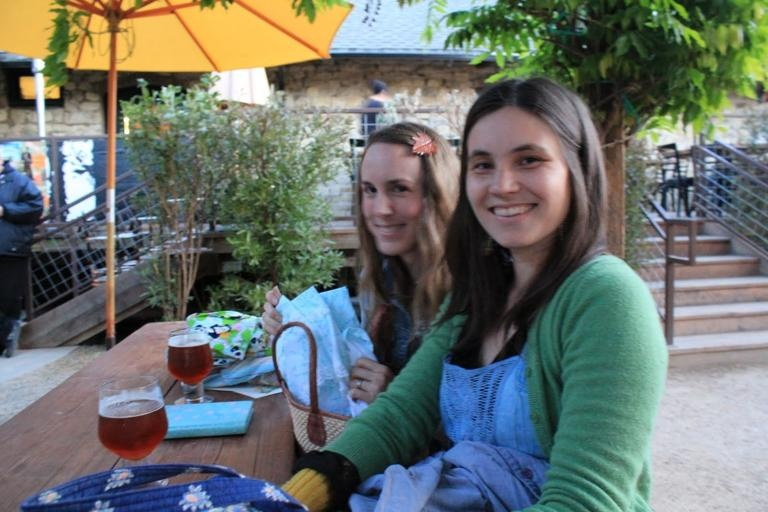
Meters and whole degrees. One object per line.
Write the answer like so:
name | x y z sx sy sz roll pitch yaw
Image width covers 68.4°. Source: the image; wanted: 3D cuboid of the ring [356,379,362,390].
ring | -0.104 0.550 2.414 0.020 0.030 0.031 9 55 27

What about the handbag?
handbag | -0.302 0.522 2.350 0.375 0.347 0.266 29 21 26
